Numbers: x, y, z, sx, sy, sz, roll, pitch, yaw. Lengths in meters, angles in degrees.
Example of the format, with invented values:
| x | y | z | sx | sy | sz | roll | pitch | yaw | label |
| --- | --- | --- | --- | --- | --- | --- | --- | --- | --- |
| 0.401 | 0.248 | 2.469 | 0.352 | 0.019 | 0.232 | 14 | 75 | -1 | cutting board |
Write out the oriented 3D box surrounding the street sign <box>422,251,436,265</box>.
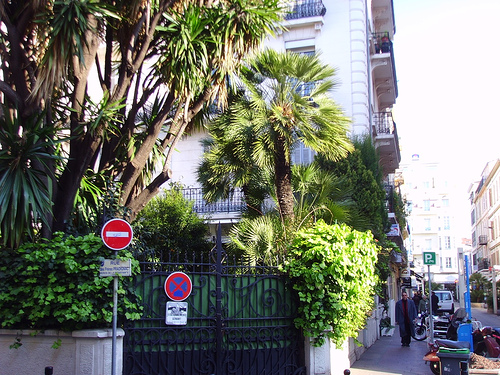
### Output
| x | y | z | sx | sy | sz | roll | pitch | yaw | label |
| --- | --- | --- | --- | --- | --- | --- | --- | --- | --- |
| 6.353 | 2.486 | 19.150 | 0.396 | 0.477 | 0.873 | -6 | -12 | 17 | street sign |

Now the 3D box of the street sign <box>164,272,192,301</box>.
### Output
| x | y | z | sx | sy | sz | roll | pitch | yaw | label |
| --- | --- | --- | --- | --- | --- | --- | --- | --- | --- |
| -1.329 | 1.815 | 10.080 | 0.506 | 0.662 | 0.056 | 2 | 25 | -8 | street sign |

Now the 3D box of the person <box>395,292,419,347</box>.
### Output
| x | y | z | sx | sy | sz | roll | pitch | yaw | label |
| --- | --- | --- | --- | --- | --- | --- | --- | --- | --- |
| 5.439 | 4.510 | 18.858 | 0.684 | 2.004 | 0.498 | -3 | 6 | 14 | person |

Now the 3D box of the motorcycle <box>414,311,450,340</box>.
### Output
| x | y | z | sx | sy | sz | roll | pitch | yaw | label |
| --- | --- | --- | --- | --- | --- | --- | --- | --- | --- |
| 7.251 | 5.296 | 20.694 | 1.029 | 0.845 | 0.573 | -6 | -5 | 18 | motorcycle |

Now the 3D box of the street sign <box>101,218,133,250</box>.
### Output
| x | y | z | sx | sy | sz | roll | pitch | yaw | label |
| --- | --- | --- | --- | --- | --- | --- | --- | --- | --- |
| -2.214 | 0.775 | 8.958 | 0.479 | 0.636 | 0.072 | -1 | 0 | -14 | street sign |

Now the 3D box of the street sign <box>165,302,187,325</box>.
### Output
| x | y | z | sx | sy | sz | roll | pitch | yaw | label |
| --- | --- | --- | --- | --- | --- | --- | --- | --- | --- |
| -1.360 | 2.313 | 10.010 | 0.399 | 0.407 | 0.073 | 2 | -10 | -26 | street sign |
